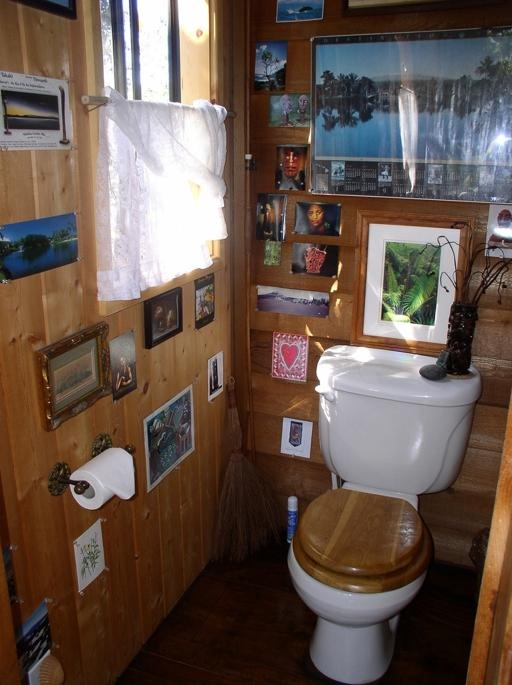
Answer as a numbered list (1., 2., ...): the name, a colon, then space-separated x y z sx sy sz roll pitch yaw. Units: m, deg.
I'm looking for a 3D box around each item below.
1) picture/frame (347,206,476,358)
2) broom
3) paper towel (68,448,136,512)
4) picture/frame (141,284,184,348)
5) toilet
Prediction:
1. picture/frame: 0.547 -0.209 1.769 0.373 0.584 0.037 7 44 19
2. broom: -0.037 0.525 2.024 0.255 0.734 0.176 1 11 4
3. paper towel: -0.343 0.319 1.138 0.097 0.097 0.166 8 16 31
4. picture/frame: -0.276 -0.078 1.437 0.014 0.122 0.150 6 17 17
5. toilet: 0.368 0.460 1.742 0.542 1.145 0.932 9 25 19
